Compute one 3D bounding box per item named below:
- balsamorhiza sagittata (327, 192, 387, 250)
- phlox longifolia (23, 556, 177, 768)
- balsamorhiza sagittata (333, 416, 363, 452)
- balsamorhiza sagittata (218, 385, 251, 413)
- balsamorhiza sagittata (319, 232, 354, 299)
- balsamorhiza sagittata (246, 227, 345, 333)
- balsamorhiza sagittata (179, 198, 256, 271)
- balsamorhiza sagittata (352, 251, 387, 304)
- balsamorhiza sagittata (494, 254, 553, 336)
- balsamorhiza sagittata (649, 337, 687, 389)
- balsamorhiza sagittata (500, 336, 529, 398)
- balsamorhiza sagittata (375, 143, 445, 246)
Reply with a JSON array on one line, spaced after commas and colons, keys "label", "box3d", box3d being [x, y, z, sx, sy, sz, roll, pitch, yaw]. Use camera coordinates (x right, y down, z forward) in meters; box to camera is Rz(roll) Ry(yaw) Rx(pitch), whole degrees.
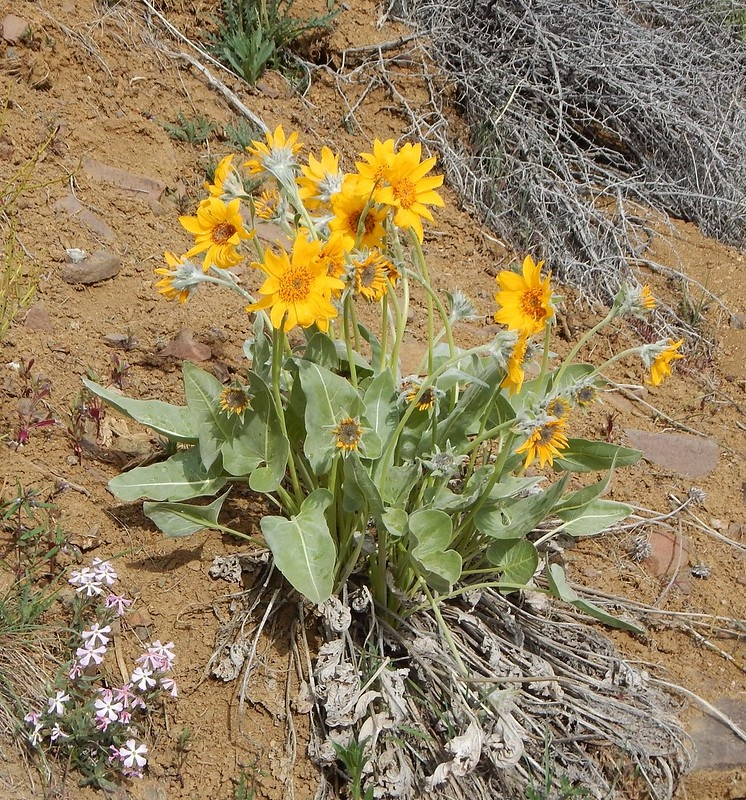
[{"label": "balsamorhiza sagittata", "box3d": [-0.043, -0.527, 2.639, 0.149, 0.055, 0.155, -39, 113, 4]}, {"label": "phlox longifolia", "box3d": [-0.846, 0.845, 2.797, 0.428, 0.223, 0.637, 11, 66, -46]}, {"label": "balsamorhiza sagittata", "box3d": [-0.082, 0.112, 2.705, 0.088, 0.093, 0.094, 20, 64, 1]}, {"label": "balsamorhiza sagittata", "box3d": [-0.452, 0.004, 2.906, 0.100, 0.111, 0.066, 9, 63, -4]}, {"label": "balsamorhiza sagittata", "box3d": [-0.110, -0.379, 2.517, 0.173, 0.054, 0.168, 27, 26, 36]}, {"label": "balsamorhiza sagittata", "box3d": [-0.200, -0.307, 2.405, 0.223, 0.132, 0.241, 12, 65, -3]}, {"label": "balsamorhiza sagittata", "box3d": [-0.448, -0.495, 2.551, 0.181, 0.162, 0.206, -14, 68, -14]}, {"label": "balsamorhiza sagittata", "box3d": [-0.009, -0.353, 2.566, 0.125, 0.049, 0.130, -33, 112, -22]}, {"label": "balsamorhiza sagittata", "box3d": [0.423, -0.270, 2.549, 0.176, 0.247, 0.147, -6, 19, -4]}, {"label": "balsamorhiza sagittata", "box3d": [1.185, -0.136, 3.572, 0.089, 0.169, 0.199, 28, 72, -3]}, {"label": "balsamorhiza sagittata", "box3d": [0.387, -0.110, 2.579, 0.046, 0.127, 0.139, 5, 97, 23]}, {"label": "balsamorhiza sagittata", "box3d": [0.105, -0.579, 2.629, 0.183, 0.282, 0.262, 21, 64, 3]}]
